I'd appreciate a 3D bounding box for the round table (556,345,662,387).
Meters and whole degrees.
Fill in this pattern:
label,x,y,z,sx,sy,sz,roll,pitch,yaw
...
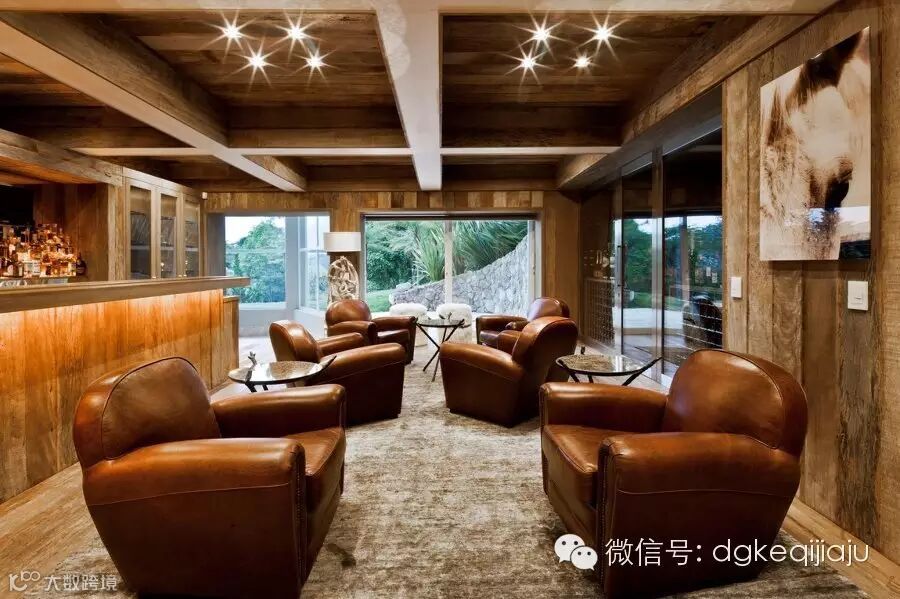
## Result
label,x,y,z,sx,sy,sz,roll,pitch,yaw
round table,1.178,0.511,4.364,0.546,0.197,0.548,1,-1,0

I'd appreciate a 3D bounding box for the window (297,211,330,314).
label,x,y,z,sx,sy,sz,roll,pitch,yaw
window,-2.472,-0.659,10.264,0.352,1.728,1.117,-5,4,-27

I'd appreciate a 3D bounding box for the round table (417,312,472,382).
label,x,y,z,sx,sy,sz,roll,pitch,yaw
round table,-0.131,0.556,6.959,0.843,0.840,0.813,2,3,0

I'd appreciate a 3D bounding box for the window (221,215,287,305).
label,x,y,z,sx,sy,sz,roll,pitch,yaw
window,-3.710,-0.723,10.865,1.131,1.677,0.307,-1,5,11
